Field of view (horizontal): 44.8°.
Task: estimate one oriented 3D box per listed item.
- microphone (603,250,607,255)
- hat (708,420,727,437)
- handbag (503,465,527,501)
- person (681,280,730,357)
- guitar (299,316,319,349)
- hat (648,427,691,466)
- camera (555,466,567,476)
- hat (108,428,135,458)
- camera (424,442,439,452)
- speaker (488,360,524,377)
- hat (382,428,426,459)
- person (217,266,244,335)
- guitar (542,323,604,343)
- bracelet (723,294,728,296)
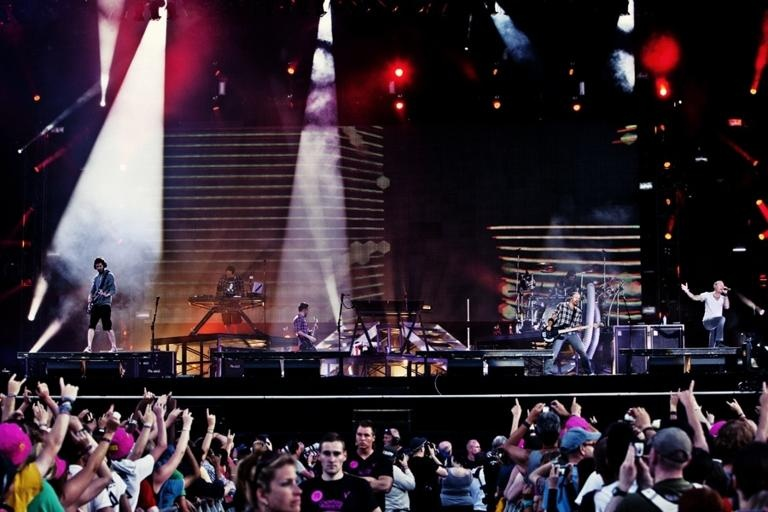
[{"bbox_3d":[4.965,-0.086,20.984,0.116,0.091,0.051,-1,-12,4],"label":"microphone"},{"bbox_3d":[4.167,2.160,11.642,0.248,0.085,0.245,-38,-12,-26],"label":"hat"},{"bbox_3d":[1.657,2.879,11.783,0.164,0.418,0.337,3,-13,-15],"label":"handbag"},{"bbox_3d":[6.456,1.307,18.649,0.952,1.376,0.679,14,-30,-17],"label":"person"},{"bbox_3d":[-1.542,1.571,18.781,0.471,0.710,0.359,-2,12,8],"label":"guitar"},{"bbox_3d":[3.180,2.115,10.315,0.426,0.424,0.142,-3,-13,16],"label":"hat"},{"bbox_3d":[2.076,2.526,10.954,0.080,0.115,0.312,-4,-13,18],"label":"camera"},{"bbox_3d":[-3.167,2.253,11.212,0.267,0.367,0.124,5,-42,9],"label":"hat"},{"bbox_3d":[0.706,2.892,14.091,0.242,0.114,0.326,3,-6,-3],"label":"camera"},{"bbox_3d":[2.155,1.964,16.318,0.554,0.280,0.363,-1,-5,-1],"label":"speaker"},{"bbox_3d":[0.236,2.731,13.565,0.474,0.261,0.609,-13,-8,11],"label":"hat"},{"bbox_3d":[-3.301,0.828,19.837,0.511,1.320,1.358,2,-12,-9],"label":"person"},{"bbox_3d":[3.583,1.447,17.870,1.200,0.387,0.624,11,-17,-42],"label":"guitar"},{"bbox_3d":[6.749,0.757,18.420,0.070,0.027,0.093,-1,-3,1],"label":"bracelet"}]
